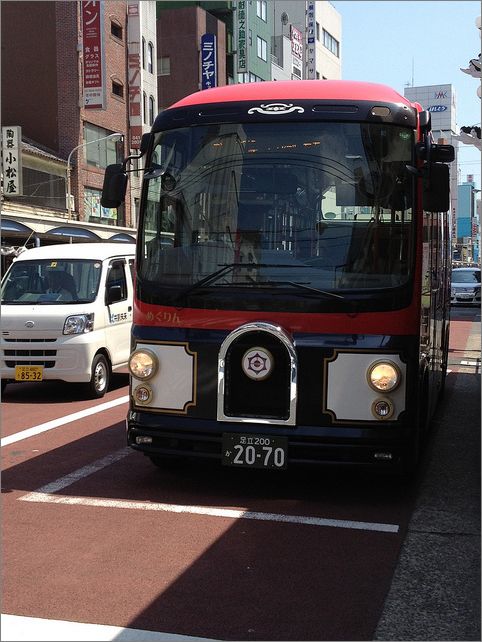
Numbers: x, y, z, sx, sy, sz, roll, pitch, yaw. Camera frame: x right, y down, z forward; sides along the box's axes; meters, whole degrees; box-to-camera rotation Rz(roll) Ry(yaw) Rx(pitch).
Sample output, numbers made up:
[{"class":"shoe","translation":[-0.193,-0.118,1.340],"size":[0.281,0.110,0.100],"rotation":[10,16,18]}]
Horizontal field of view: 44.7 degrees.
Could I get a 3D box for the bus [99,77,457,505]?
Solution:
[{"class":"bus","translation":[0.709,-0.397,6.390],"size":[2.312,2.787,5.295],"rotation":[2,0,15]}]
